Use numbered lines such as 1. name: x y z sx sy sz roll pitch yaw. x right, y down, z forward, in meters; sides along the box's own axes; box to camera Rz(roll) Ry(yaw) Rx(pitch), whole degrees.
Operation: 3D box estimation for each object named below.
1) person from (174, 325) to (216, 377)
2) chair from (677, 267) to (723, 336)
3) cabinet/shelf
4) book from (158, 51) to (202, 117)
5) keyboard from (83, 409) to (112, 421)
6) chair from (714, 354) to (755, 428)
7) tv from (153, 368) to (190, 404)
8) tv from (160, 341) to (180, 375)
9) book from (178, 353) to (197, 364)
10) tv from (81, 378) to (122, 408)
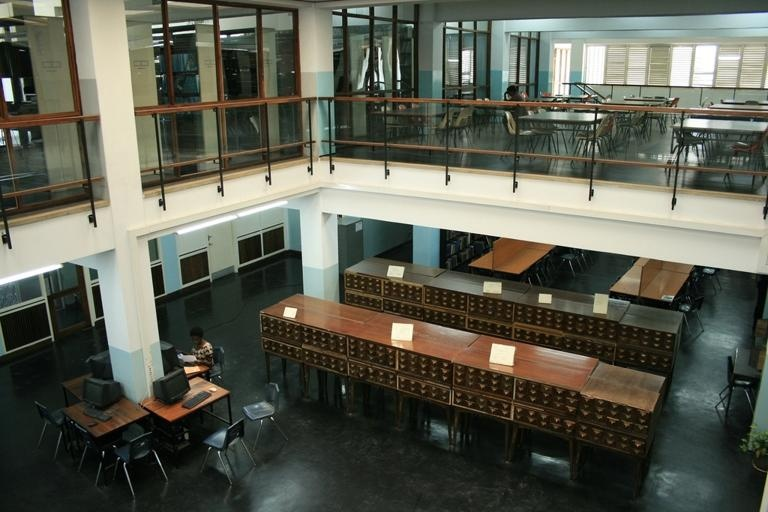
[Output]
1. person: -3.999 2.129 11.968 0.908 1.160 0.821 4 11 7
2. chair: 8.131 1.215 14.781 0.500 0.608 1.789 11 32 32
3. cabinet/shelf: 1.961 2.013 11.756 6.982 2.624 3.217 9 21 24
4. book: -3.934 -3.419 10.975 0.231 0.937 0.885 18 26 39
5. keyboard: -5.125 2.842 10.289 0.609 0.068 0.210 9 20 25
6. chair: 7.084 2.778 11.538 0.847 1.164 1.011 -1 28 20
7. tv: -3.937 2.423 10.606 0.603 0.511 0.444 -9 22 -26
8. tv: -4.181 2.006 11.147 0.293 0.476 0.513 -10 23 -31
9. book: -4.098 2.117 11.856 0.320 0.104 0.231 8 11 37
10. tv: -5.177 2.493 10.637 0.601 0.464 0.575 4 8 32
